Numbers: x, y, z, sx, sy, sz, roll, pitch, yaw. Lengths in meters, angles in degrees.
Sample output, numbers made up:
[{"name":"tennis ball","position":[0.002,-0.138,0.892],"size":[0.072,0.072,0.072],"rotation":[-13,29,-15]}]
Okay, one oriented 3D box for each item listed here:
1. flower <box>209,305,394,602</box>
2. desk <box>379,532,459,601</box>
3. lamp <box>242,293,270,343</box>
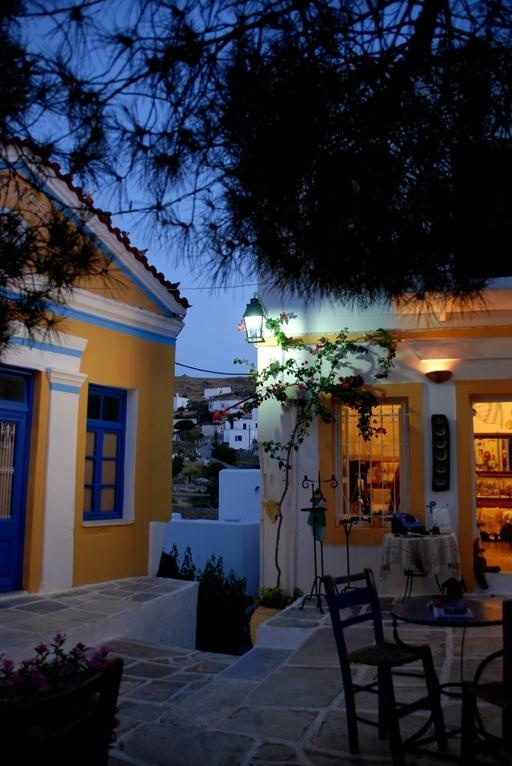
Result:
[{"name":"flower","position":[0.735,0.689,7.730],"size":[1.976,3.556,0.755],"rotation":[-6,-11,4]},{"name":"desk","position":[1.794,1.993,6.706],"size":[0.660,0.519,0.668],"rotation":[-7,-15,-33]},{"name":"lamp","position":[-0.024,-0.810,7.857],"size":[0.312,0.596,0.324],"rotation":[-5,-9,21]}]
